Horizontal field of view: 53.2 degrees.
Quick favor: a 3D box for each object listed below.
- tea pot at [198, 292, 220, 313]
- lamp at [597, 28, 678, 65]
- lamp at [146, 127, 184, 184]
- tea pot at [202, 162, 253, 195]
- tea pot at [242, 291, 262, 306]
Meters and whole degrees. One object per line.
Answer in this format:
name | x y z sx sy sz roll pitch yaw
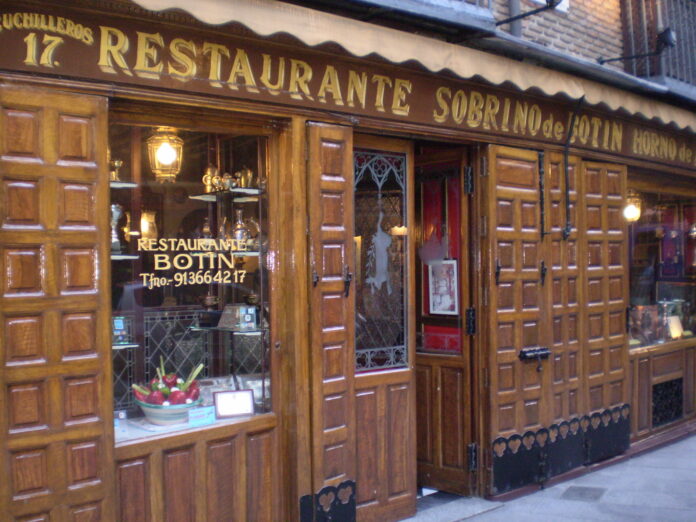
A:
tea pot | -1.159 0.338 5.840 0.172 0.143 0.122 1 5 -3
lamp | 3.516 -2.578 8.542 0.944 0.440 0.557 11 41 41
lamp | -1.500 -0.897 5.753 0.266 0.491 0.283 1 -1 24
tea pot | -1.000 -0.683 5.897 0.330 0.263 0.201 -4 6 -23
tea pot | -0.818 0.326 6.033 0.104 0.090 0.118 1 -4 -1
